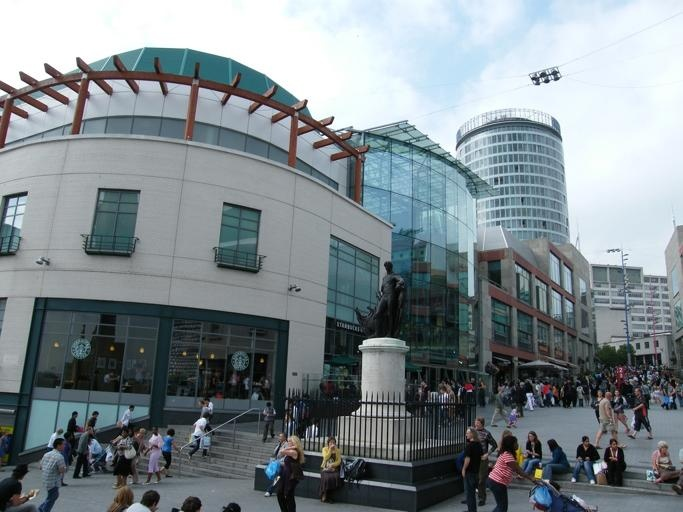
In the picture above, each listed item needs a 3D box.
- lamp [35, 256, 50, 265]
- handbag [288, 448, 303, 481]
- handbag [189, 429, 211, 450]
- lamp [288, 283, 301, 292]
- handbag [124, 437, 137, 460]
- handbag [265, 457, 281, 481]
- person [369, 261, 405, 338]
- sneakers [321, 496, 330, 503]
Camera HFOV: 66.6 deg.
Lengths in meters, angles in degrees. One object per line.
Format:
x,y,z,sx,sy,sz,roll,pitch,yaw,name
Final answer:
-14.895,0.271,25.942,0.332,0.352,0.676,-4,-10,29,lamp
-1.220,5.717,14.343,0.380,0.771,0.636,-3,-17,15,handbag
-5.843,7.595,21.569,0.545,1.005,1.036,-3,-10,27,handbag
-2.677,1.802,29.477,0.594,0.380,0.358,-9,-12,35,lamp
-6.858,6.255,16.885,0.337,0.678,0.550,2,-16,-2,handbag
-2.091,6.528,15.950,0.417,0.545,0.419,4,-16,-8,handbag
1.680,1.680,18.635,1.075,2.375,0.523,0,-16,3,person
-0.513,7.465,15.999,0.239,0.146,0.142,0,-16,5,sneakers
